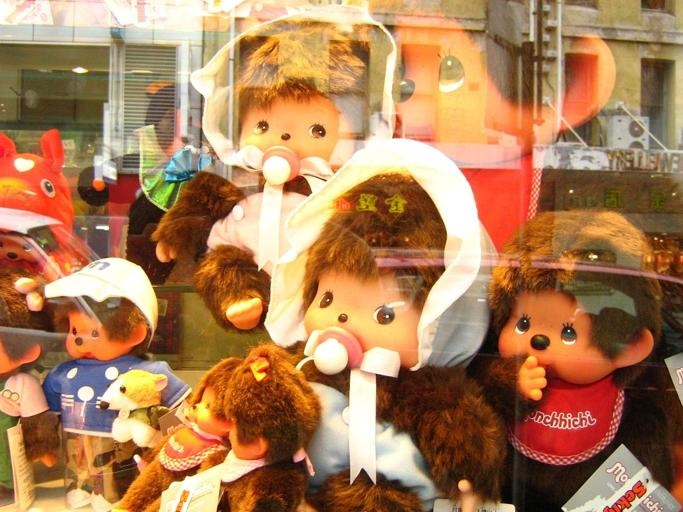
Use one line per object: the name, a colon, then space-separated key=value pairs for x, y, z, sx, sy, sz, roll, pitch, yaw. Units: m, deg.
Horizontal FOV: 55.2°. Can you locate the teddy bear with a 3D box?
teddy bear: x=0.020 y=0.025 z=1.471 sx=1.258 sy=1.130 sz=0.543 roll=0 pitch=-2 yaw=10
